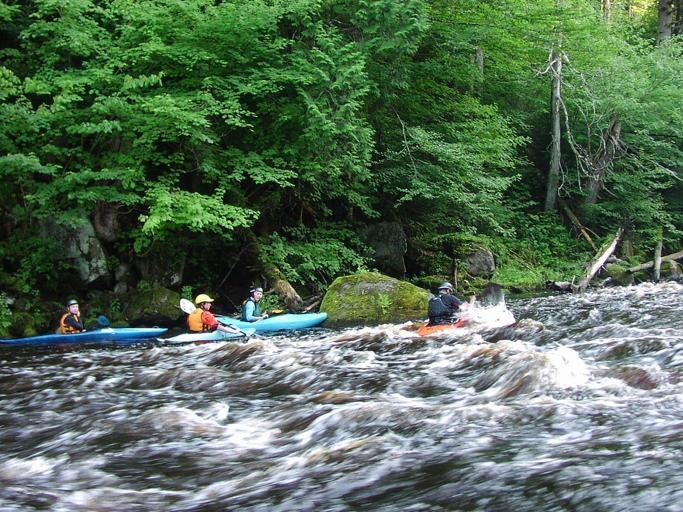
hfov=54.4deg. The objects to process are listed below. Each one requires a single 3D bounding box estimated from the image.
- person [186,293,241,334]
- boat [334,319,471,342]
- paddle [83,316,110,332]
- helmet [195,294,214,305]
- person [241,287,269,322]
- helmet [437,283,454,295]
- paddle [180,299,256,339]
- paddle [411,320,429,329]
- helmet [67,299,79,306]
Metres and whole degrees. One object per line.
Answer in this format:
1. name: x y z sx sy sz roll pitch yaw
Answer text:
1. person: -2.635 1.157 12.923 1.123 0.810 0.513 1 15 25
2. boat: 1.597 1.263 11.457 1.275 0.168 0.720 -4 -8 -40
3. paddle: -4.729 1.352 13.135 0.602 0.210 0.454 -9 8 -43
4. helmet: -2.676 0.871 12.892 0.413 0.150 0.256 -4 9 -8
5. person: -1.881 1.085 14.559 0.555 0.462 0.710 -6 -35 -16
6. helmet: 1.935 0.611 12.337 0.326 0.228 0.243 3 4 -35
7. paddle: -2.461 1.196 13.048 1.240 0.379 0.816 19 -5 -20
8. paddle: 1.428 1.263 12.252 0.136 0.062 0.518 5 3 14
9. helmet: -5.377 0.925 13.190 0.198 0.077 0.142 -18 -9 42
